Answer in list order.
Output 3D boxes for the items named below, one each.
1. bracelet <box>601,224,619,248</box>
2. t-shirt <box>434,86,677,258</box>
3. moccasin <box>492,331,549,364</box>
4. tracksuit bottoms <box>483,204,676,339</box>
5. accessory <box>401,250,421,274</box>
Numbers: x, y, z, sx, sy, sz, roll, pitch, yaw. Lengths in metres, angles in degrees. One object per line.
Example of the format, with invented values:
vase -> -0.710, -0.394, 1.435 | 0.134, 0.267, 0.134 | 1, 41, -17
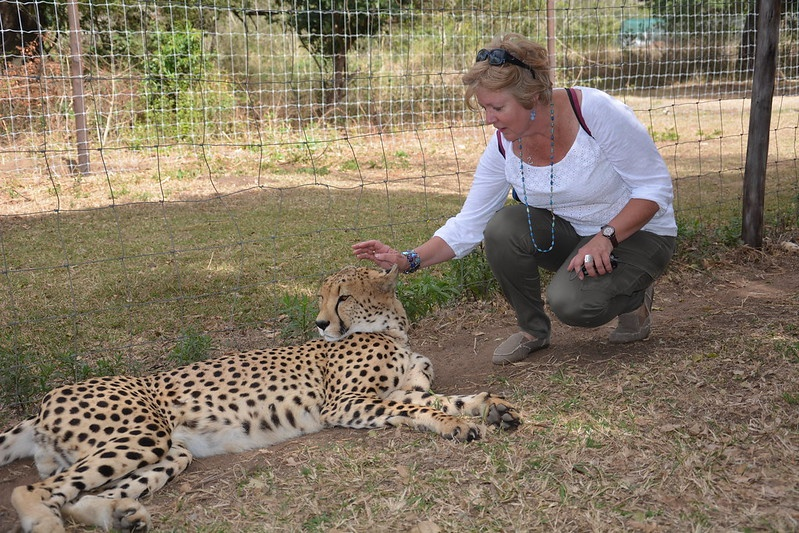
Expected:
bracelet -> 1.449, -0.207, 5.194 | 0.118, 0.161, 0.057 | -3, 17, 4
t-shirt -> 1.173, -0.675, 5.403 | 1.470, 1.140, 1.108 | -20, 28, -26
moccasin -> 0.897, 0.594, 5.730 | 0.480, 0.175, 0.172 | -14, 12, -29
tracksuit bottoms -> 1.318, 0.089, 5.679 | 1.198, 0.621, 1.010 | -4, 30, -1
accessory -> 0.093, -0.044, 5.583 | 0.117, 0.182, 0.163 | -1, -1, 1
